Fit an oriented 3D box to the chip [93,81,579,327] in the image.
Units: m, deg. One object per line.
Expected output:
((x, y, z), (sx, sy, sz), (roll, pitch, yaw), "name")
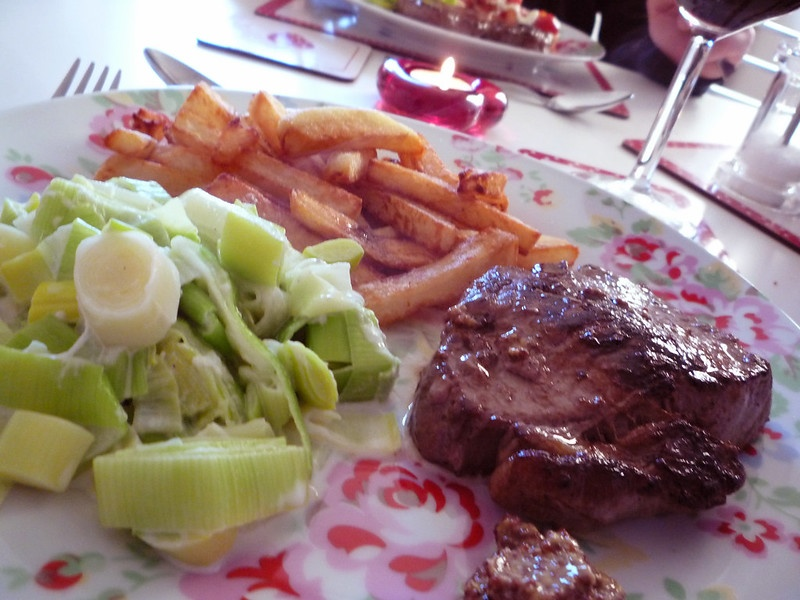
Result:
((-0.278, -0.340, 1.982), (1.341, 0.720, 0.836), (-17, 29, -35), "chip")

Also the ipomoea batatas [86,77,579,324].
((-0.162, -0.334, 1.889), (0.816, 0.251, 0.959), (-8, 49, -40), "ipomoea batatas")
